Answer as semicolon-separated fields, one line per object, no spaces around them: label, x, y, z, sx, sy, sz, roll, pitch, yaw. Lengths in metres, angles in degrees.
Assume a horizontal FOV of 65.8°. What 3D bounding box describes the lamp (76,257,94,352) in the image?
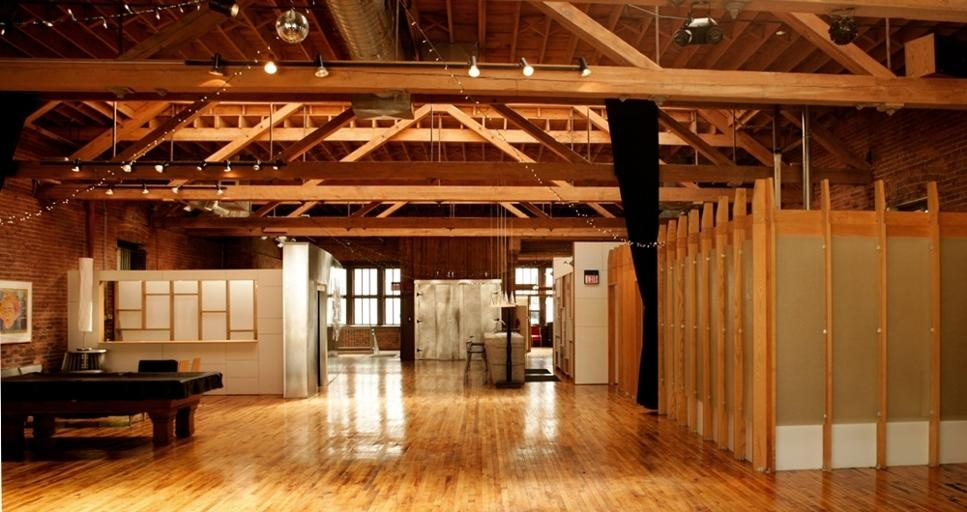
lamp;-10.052;1.203;18.804;0.439;2.259;0.758;-5;11;-22

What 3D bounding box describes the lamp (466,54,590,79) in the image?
lamp;0.849;-3.461;13.698;2.256;0.334;0.475;-1;9;-4

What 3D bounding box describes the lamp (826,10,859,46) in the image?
lamp;6.506;-4.100;13.531;0.435;0.505;0.362;-4;10;-21

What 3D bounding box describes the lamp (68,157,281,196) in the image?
lamp;-7.062;-1.915;18.004;5.242;0.829;2.740;-1;8;1

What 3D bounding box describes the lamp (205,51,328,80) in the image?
lamp;-4.070;-3.456;13.567;2.514;0.415;0.372;0;9;4

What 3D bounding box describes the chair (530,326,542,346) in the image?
chair;2.267;3.428;31.853;0.406;0.921;0.582;0;9;3
